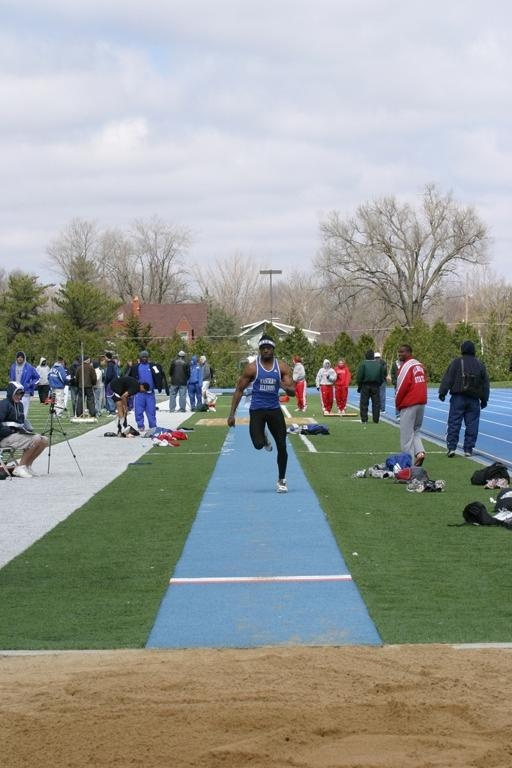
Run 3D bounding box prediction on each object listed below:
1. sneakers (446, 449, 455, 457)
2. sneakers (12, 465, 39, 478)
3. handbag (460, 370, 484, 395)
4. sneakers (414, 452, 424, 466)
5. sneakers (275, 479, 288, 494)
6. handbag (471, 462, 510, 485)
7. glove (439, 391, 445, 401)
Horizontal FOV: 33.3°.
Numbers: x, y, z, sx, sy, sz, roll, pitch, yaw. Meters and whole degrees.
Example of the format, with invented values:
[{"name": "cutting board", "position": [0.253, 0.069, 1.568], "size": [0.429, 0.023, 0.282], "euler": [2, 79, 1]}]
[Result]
[{"name": "sneakers", "position": [3.419, 1.224, 14.976], "size": [0.078, 0.086, 0.185], "euler": [-2, -10, -5]}, {"name": "sneakers", "position": [-3.358, 1.278, 12.488], "size": [0.436, 0.168, 0.146], "euler": [6, 14, 21]}, {"name": "handbag", "position": [3.627, -0.030, 14.318], "size": [0.427, 0.371, 0.166], "euler": [5, 1, -29]}, {"name": "sneakers", "position": [2.364, 1.105, 12.247], "size": [0.107, 0.121, 0.299], "euler": [0, -39, -10]}, {"name": "sneakers", "position": [0.328, 1.314, 10.957], "size": [0.153, 0.189, 0.402], "euler": [0, -8, -2]}, {"name": "handbag", "position": [3.097, 1.202, 11.323], "size": [0.437, 0.184, 0.300], "euler": [-10, 0, 14]}, {"name": "glove", "position": [3.130, 0.210, 14.219], "size": [0.139, 0.138, 0.164], "euler": [-1, -5, -2]}]
